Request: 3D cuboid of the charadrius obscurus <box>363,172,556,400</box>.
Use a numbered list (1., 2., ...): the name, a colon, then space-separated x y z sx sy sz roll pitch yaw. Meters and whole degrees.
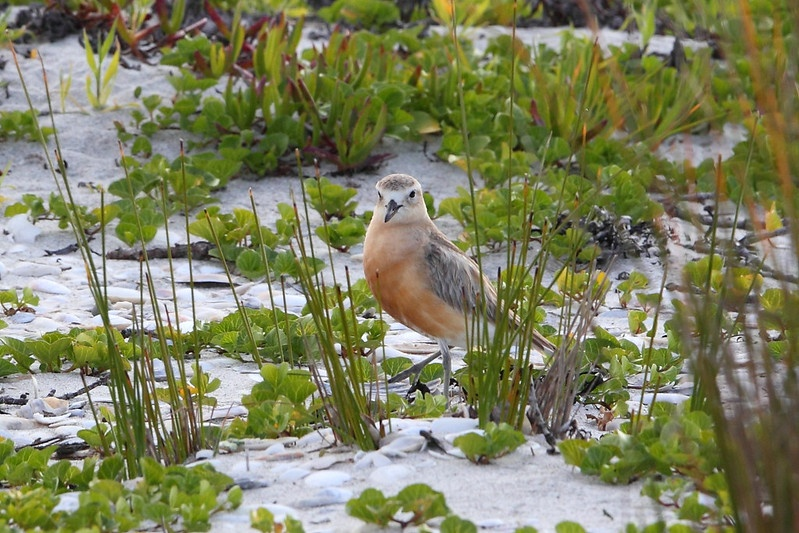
1. charadrius obscurus: 0.118 0.052 4.153 0.532 1.024 0.508 1 4 33
